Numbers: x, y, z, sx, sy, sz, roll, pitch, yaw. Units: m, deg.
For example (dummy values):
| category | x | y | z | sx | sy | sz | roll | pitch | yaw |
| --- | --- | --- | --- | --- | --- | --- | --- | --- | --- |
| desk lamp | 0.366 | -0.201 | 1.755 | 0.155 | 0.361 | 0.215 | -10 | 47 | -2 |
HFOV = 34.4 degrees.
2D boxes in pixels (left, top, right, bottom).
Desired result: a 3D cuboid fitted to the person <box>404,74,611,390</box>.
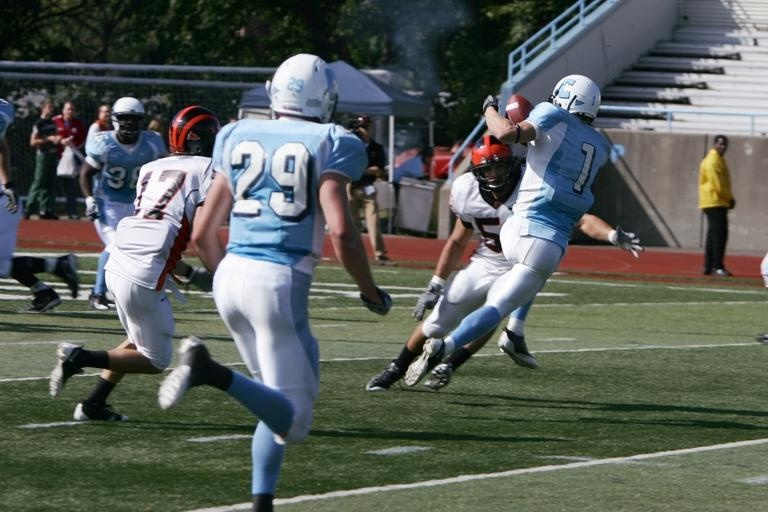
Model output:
| category | x | y | z | sx | sy | sz | roll | pitch | yaw |
| --- | --- | --- | --- | --- | --- | --- | --- | --- | --- |
| person | 1.191 | -0.240 | 10.551 | 1.787 | 2.685 | 0.591 | 1 | 5 | -40 |

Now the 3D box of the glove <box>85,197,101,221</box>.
| category | x | y | z | sx | sy | sz | roll | pitch | yaw |
| --- | --- | --- | --- | --- | --- | --- | --- | --- | --- |
| glove | -3.202 | -0.514 | 13.584 | 0.200 | 0.246 | 0.133 | -6 | -26 | -25 |

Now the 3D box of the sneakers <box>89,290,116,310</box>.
| category | x | y | z | sx | sy | sz | roll | pitch | yaw |
| --- | --- | --- | --- | --- | --- | --- | --- | --- | --- |
| sneakers | -3.138 | 0.512 | 13.786 | 0.406 | 0.137 | 0.145 | 8 | 18 | 27 |

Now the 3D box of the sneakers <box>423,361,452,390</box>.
| category | x | y | z | sx | sy | sz | roll | pitch | yaw |
| --- | --- | --- | --- | --- | --- | --- | --- | --- | --- |
| sneakers | 0.474 | 1.002 | 10.169 | 0.140 | 0.139 | 0.264 | 6 | -37 | -41 |

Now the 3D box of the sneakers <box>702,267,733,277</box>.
| category | x | y | z | sx | sy | sz | roll | pitch | yaw |
| --- | --- | --- | --- | --- | --- | --- | --- | --- | --- |
| sneakers | 5.141 | 0.265 | 19.001 | 0.439 | 0.112 | 0.138 | 1 | 3 | 19 |

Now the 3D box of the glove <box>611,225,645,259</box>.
| category | x | y | z | sx | sy | sz | roll | pitch | yaw |
| --- | --- | --- | --- | --- | --- | --- | --- | --- | --- |
| glove | 3.109 | -0.148 | 15.705 | 0.642 | 0.358 | 0.198 | 26 | -34 | -33 |

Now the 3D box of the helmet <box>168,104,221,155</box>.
| category | x | y | z | sx | sy | sz | roll | pitch | yaw |
| --- | --- | --- | --- | --- | --- | --- | --- | --- | --- |
| helmet | -1.614 | -1.053 | 10.270 | 0.446 | 0.378 | 0.517 | 6 | 18 | 23 |

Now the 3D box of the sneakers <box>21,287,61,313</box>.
| category | x | y | z | sx | sy | sz | roll | pitch | yaw |
| --- | --- | --- | --- | --- | --- | --- | --- | --- | --- |
| sneakers | -3.633 | 0.467 | 13.252 | 0.606 | 0.161 | 0.236 | -7 | -38 | 24 |

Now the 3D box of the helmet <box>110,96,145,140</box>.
| category | x | y | z | sx | sy | sz | roll | pitch | yaw |
| --- | --- | --- | --- | --- | --- | --- | --- | --- | --- |
| helmet | -2.719 | -1.444 | 13.274 | 0.392 | 0.356 | 0.430 | 0 | -10 | -17 |

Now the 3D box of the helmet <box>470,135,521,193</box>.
| category | x | y | z | sx | sy | sz | roll | pitch | yaw |
| --- | --- | --- | --- | --- | --- | --- | --- | --- | --- |
| helmet | 1.012 | -0.798 | 10.816 | 0.471 | 0.397 | 0.543 | -12 | 11 | 22 |

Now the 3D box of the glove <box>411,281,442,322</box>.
| category | x | y | z | sx | sy | sz | roll | pitch | yaw |
| --- | --- | --- | --- | --- | --- | --- | --- | --- | --- |
| glove | 0.397 | 0.396 | 10.932 | 0.176 | 0.154 | 0.462 | -41 | 4 | 38 |

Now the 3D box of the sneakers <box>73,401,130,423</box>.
| category | x | y | z | sx | sy | sz | roll | pitch | yaw |
| --- | --- | --- | --- | --- | --- | --- | --- | --- | --- |
| sneakers | -2.180 | 1.233 | 9.795 | 0.543 | 0.149 | 0.151 | 3 | 8 | -11 |

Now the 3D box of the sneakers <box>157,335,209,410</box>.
| category | x | y | z | sx | sy | sz | roll | pitch | yaw |
| --- | --- | --- | --- | --- | --- | --- | --- | --- | --- |
| sneakers | -1.278 | 0.754 | 7.927 | 0.287 | 0.466 | 0.211 | 4 | 4 | -8 |

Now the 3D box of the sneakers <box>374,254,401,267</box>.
| category | x | y | z | sx | sy | sz | roll | pitch | yaw |
| --- | --- | --- | --- | --- | --- | --- | --- | --- | --- |
| sneakers | 0.092 | 0.090 | 18.824 | 0.450 | 0.102 | 0.231 | 5 | -3 | -14 |

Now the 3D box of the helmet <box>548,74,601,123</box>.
| category | x | y | z | sx | sy | sz | roll | pitch | yaw |
| --- | --- | --- | --- | --- | --- | --- | --- | --- | --- |
| helmet | 1.747 | -1.401 | 10.953 | 0.433 | 0.380 | 0.472 | 9 | 8 | -31 |

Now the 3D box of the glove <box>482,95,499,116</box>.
| category | x | y | z | sx | sy | sz | roll | pitch | yaw |
| --- | --- | --- | --- | --- | --- | --- | --- | --- | --- |
| glove | 0.927 | -1.325 | 10.972 | 0.188 | 0.150 | 0.436 | 4 | 15 | 12 |

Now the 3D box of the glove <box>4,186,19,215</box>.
| category | x | y | z | sx | sy | sz | roll | pitch | yaw |
| --- | --- | --- | --- | --- | --- | --- | --- | --- | --- |
| glove | -3.874 | -0.572 | 12.841 | 0.095 | 0.225 | 0.199 | -18 | 3 | -22 |

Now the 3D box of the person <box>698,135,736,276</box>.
| category | x | y | z | sx | sy | sz | roll | pitch | yaw |
| --- | --- | --- | --- | --- | --- | --- | --- | --- | --- |
| person | 5.050 | -0.744 | 18.707 | 0.567 | 2.146 | 0.660 | 6 | 4 | 17 |

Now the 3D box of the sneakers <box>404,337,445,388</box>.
| category | x | y | z | sx | sy | sz | roll | pitch | yaw |
| --- | --- | --- | --- | --- | --- | --- | --- | --- | --- |
| sneakers | 0.355 | 0.869 | 10.181 | 0.260 | 0.186 | 0.512 | 1 | -40 | -43 |
